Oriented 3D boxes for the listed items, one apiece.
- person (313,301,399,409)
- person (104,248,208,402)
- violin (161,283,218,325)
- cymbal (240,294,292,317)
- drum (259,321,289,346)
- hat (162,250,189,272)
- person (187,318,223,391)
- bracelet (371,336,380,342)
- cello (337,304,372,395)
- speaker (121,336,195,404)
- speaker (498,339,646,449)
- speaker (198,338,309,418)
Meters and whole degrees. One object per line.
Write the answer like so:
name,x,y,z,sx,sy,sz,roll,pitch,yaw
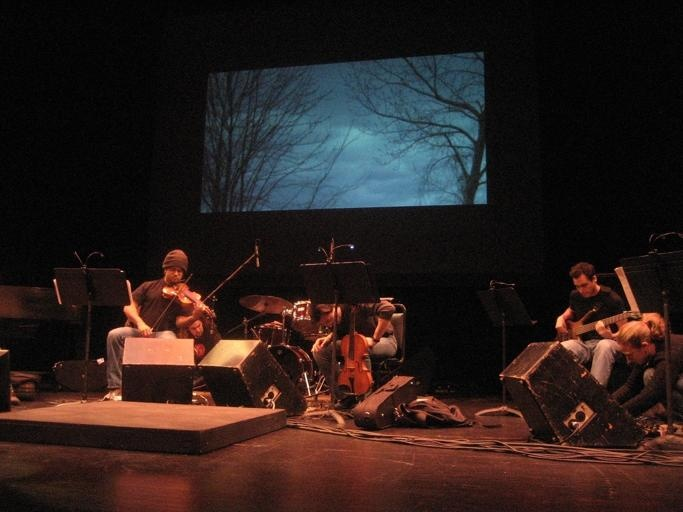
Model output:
person,0.103,0.927,6.723,0.712,1.158,0.392,-4,2,18
person,-1.942,0.734,6.695,0.965,1.508,0.939,7,-4,42
violin,-1.602,0.468,6.791,0.629,0.277,0.109,37,10,6
cymbal,-0.850,0.578,7.689,0.641,0.245,0.378,-6,-4,31
drum,-0.795,0.922,7.626,0.267,0.169,0.270,-1,-14,0
hat,-1.830,0.057,7.162,0.190,0.190,0.201,24,-40,-38
person,-1.496,1.040,6.896,0.243,0.714,0.516,0,-7,40
bracelet,0.344,0.862,6.709,0.059,0.036,0.067,1,1,-24
cello,0.153,0.959,6.399,0.324,0.888,0.444,-3,-4,-18
speaker,-1.681,0.983,5.912,0.592,0.576,0.613,1,-2,-17
speaker,1.720,1.039,5.041,0.896,0.780,0.789,1,-9,-8
speaker,-0.775,1.069,5.703,0.584,0.753,0.796,-14,-5,35
